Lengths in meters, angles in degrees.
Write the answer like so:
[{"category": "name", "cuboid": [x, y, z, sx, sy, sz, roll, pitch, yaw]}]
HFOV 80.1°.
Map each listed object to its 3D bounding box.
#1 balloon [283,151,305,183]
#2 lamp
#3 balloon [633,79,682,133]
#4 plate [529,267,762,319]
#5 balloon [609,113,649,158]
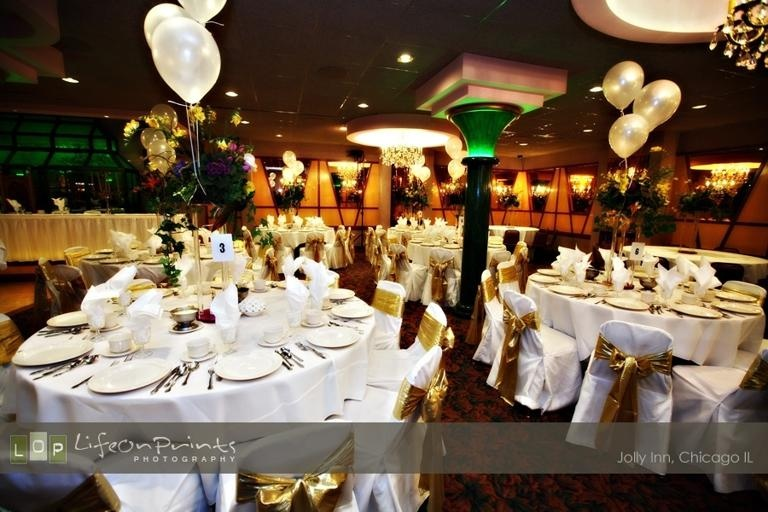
[{"category": "balloon", "cuboid": [-2.303, -2.253, 11.614, 0.445, 0.855, 0.853, 0, 7, -12]}, {"category": "lamp", "cuboid": [0.438, -2.797, 10.711, 2.476, 0.624, 2.513, 2, 6, 1]}, {"category": "balloon", "cuboid": [3.550, -1.993, 5.949, 0.497, 0.613, 0.374, 5, 7, 28]}, {"category": "plate", "cuboid": [3.002, 0.476, 5.193, 1.127, 0.294, 1.169, -2, 9, -10]}, {"category": "balloon", "cuboid": [3.178, -1.571, 5.898, 0.438, 0.561, 0.299, 4, 7, 23]}]
